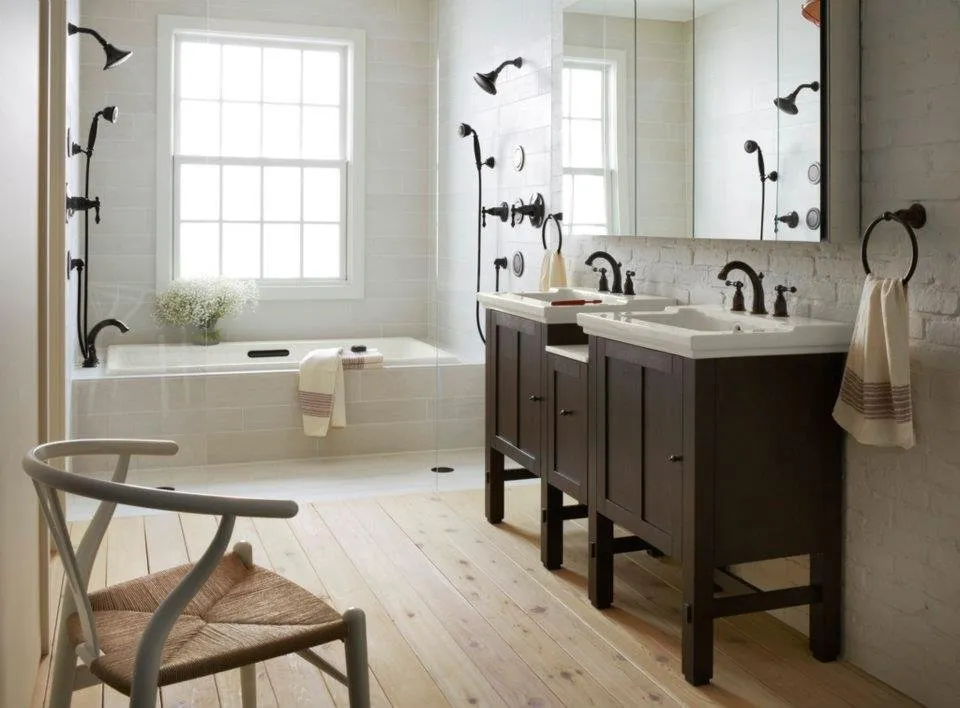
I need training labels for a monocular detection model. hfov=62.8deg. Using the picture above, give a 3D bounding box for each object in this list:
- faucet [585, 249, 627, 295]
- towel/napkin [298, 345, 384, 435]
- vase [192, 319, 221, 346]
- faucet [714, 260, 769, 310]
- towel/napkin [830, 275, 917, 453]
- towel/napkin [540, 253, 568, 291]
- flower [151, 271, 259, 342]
[{"bbox_3d":[0.636,-0.401,3.911,0.251,0.311,0.130,0,0,7],"label":"faucet"},{"bbox_3d":[-0.885,0.209,4.835,0.487,0.530,0.174,0,3,-12],"label":"towel/napkin"},{"bbox_3d":[-1.589,-0.123,4.541,0.126,0.134,0.130,0,-2,-9],"label":"vase"},{"bbox_3d":[1.005,-0.260,2.992,0.164,0.191,0.368,4,11,20],"label":"faucet"},{"bbox_3d":[1.225,0.020,2.428,0.240,0.503,0.122,7,11,34],"label":"towel/napkin"},{"bbox_3d":[0.387,-0.440,4.186,0.158,0.200,0.139,3,10,18],"label":"towel/napkin"},{"bbox_3d":[-1.589,-0.274,4.539,0.409,0.317,0.352,-1,4,-27],"label":"flower"}]
